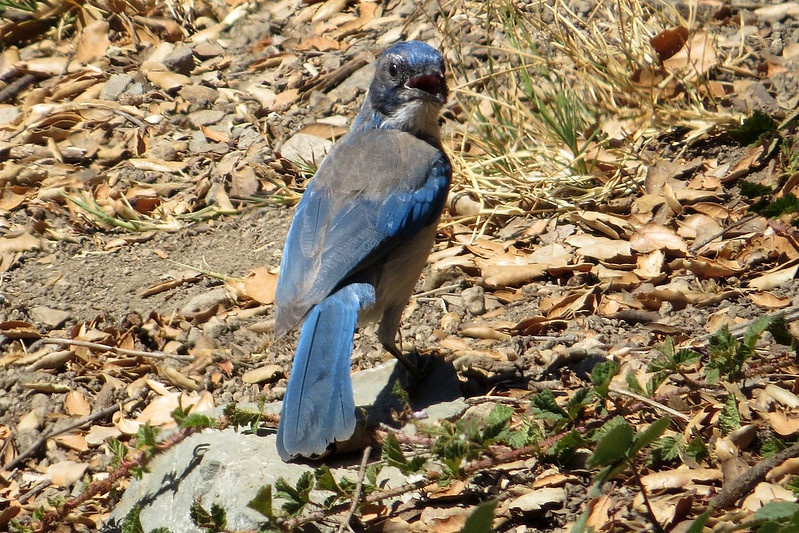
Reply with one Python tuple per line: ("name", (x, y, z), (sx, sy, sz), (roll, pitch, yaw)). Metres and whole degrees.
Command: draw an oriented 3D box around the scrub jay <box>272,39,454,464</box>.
("scrub jay", (-0.220, -0.188, 5.277), (1.101, 2.477, 2.805), (2, -1, -5))
